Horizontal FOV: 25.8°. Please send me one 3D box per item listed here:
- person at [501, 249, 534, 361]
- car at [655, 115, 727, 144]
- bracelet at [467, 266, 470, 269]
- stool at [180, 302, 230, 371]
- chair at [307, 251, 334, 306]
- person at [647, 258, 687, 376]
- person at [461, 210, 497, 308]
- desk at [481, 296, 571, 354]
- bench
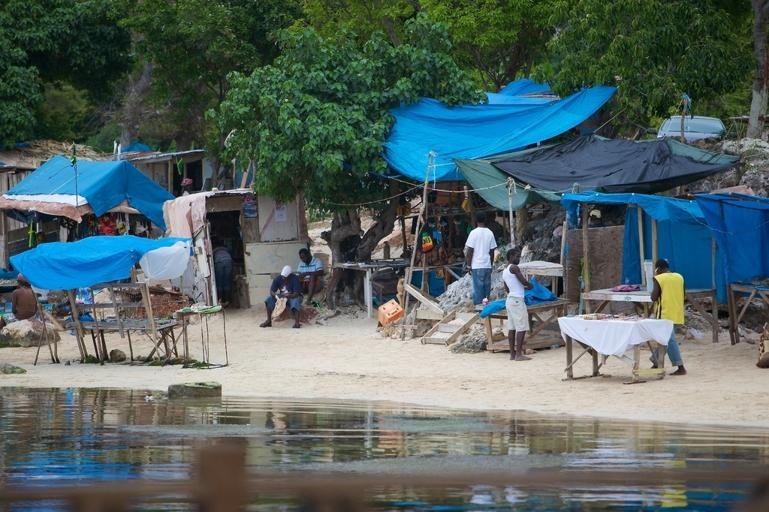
[{"bbox_3d":[3.129,1.130,39.600,0.683,2.625,0.796,-4,5,-12],"label":"person"},{"bbox_3d":[8.735,-3.874,47.157,1.242,0.902,2.038,0,-2,-2],"label":"car"},{"bbox_3d":[2.108,0.259,42.605,0.077,0.076,0.121,8,3,19],"label":"bracelet"},{"bbox_3d":[-4.520,1.900,40.281,1.133,1.327,0.968,-2,-2,-8],"label":"stool"},{"bbox_3d":[-1.798,0.576,46.724,0.539,0.671,1.583,3,29,-6],"label":"chair"},{"bbox_3d":[6.366,1.359,38.008,0.945,2.513,0.975,-1,-1,-2],"label":"person"},{"bbox_3d":[2.316,0.088,41.711,0.936,2.205,0.752,1,0,19],"label":"person"},{"bbox_3d":[3.464,1.741,40.642,1.318,1.104,1.853,-8,-3,42],"label":"desk"},{"bbox_3d":[-6.351,1.568,40.730,2.725,1.800,1.918,-1,0,23],"label":"bench"}]
